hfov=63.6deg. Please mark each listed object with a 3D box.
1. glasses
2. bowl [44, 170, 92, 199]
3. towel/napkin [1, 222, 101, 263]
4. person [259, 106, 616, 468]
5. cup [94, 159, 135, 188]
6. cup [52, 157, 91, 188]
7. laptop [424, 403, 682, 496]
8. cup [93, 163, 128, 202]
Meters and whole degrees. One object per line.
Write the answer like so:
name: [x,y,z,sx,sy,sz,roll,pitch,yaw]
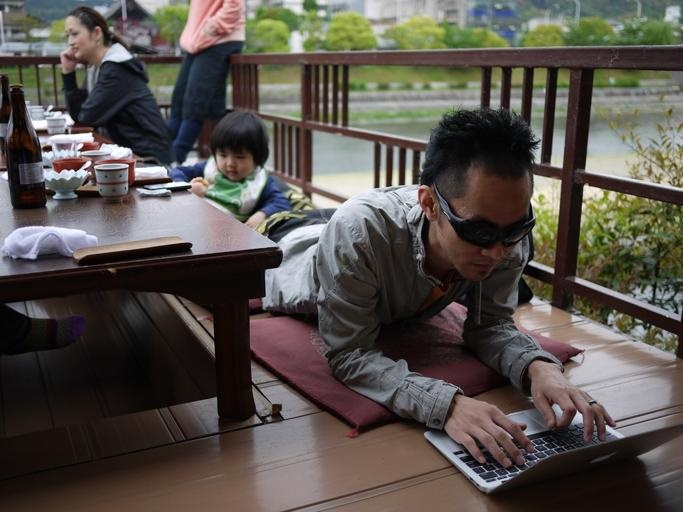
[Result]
glasses: [0.367,-0.101,1.460,0.270,0.144,0.111,6,18,14]
bowl: [-0.931,-0.242,1.853,0.109,0.058,0.111,1,7,0]
towel/napkin: [-0.726,-0.052,1.373,0.112,0.055,0.148,7,10,39]
person: [0.166,-0.075,1.947,0.540,0.744,1.499,-9,23,-27]
cup: [-0.779,-0.281,1.900,0.128,0.091,0.132,1,11,0]
cup: [-0.964,-0.303,1.968,0.120,0.049,0.083,-2,7,-30]
laptop: [0.514,0.497,1.414,0.349,0.129,0.278,-8,23,-26]
cup: [-0.764,-0.252,1.898,0.117,0.109,0.111,1,15,0]
